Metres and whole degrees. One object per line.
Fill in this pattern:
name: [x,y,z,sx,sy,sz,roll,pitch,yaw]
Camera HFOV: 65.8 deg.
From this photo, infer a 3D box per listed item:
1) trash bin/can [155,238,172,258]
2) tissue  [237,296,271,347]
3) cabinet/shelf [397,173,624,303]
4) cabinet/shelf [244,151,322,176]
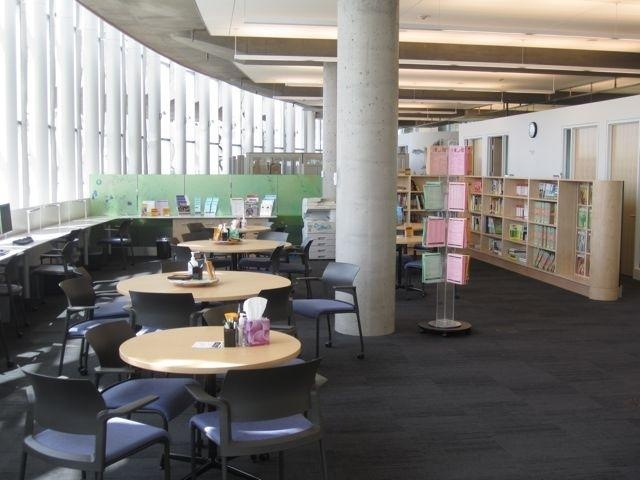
trash bin/can: [-3.644,0.186,11.502,0.401,0.520,0.450,-3,8,-23]
tissue : [-0.441,0.531,3.274,0.218,0.307,0.176,2,9,10]
cabinet/shelf: [3.252,-0.218,9.721,3.809,2.062,6.679,1,8,1]
cabinet/shelf: [-1.018,-2.163,13.872,2.120,0.610,1.101,0,8,-5]
